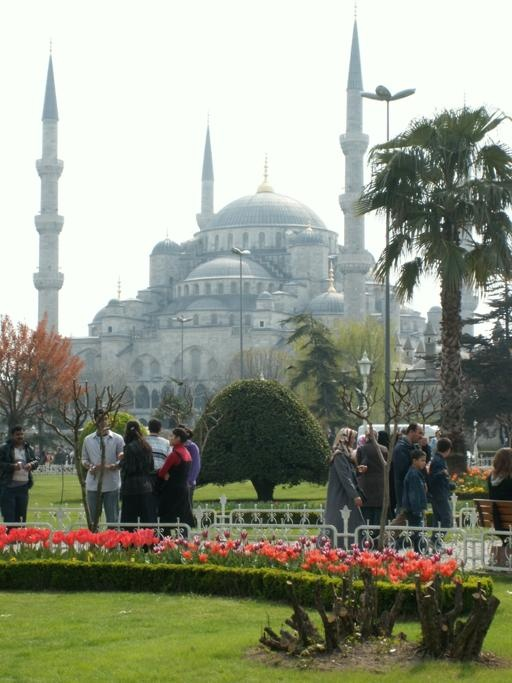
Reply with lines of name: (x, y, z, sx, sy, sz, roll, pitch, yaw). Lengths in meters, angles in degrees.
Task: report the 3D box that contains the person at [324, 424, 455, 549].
person: (1.133, 1.431, 20.813, 0.866, 1.206, 2.110, -2, -7, 8)
